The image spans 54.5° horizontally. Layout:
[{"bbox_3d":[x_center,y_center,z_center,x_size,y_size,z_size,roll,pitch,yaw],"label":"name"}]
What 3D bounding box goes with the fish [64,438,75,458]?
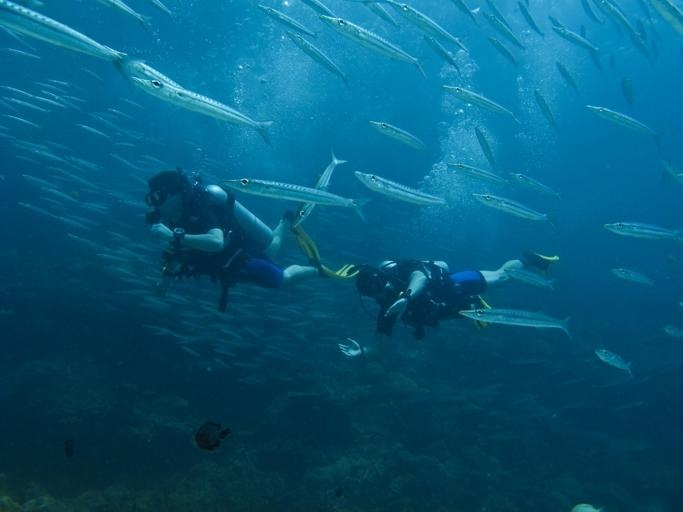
[{"bbox_3d":[-5.926,4.169,14.387,0.194,0.338,0.287,6,14,-33],"label":"fish"}]
